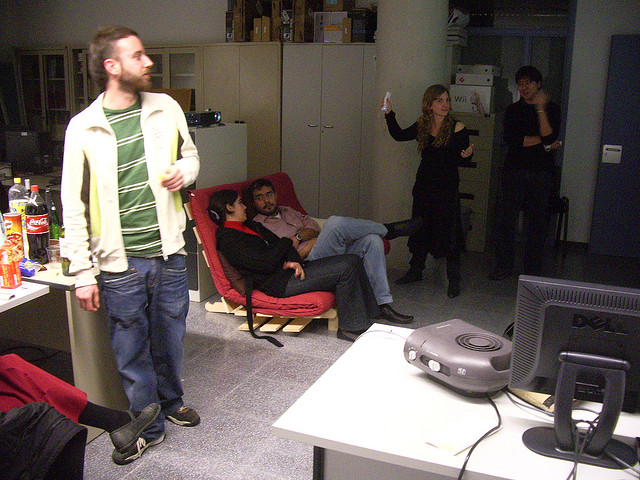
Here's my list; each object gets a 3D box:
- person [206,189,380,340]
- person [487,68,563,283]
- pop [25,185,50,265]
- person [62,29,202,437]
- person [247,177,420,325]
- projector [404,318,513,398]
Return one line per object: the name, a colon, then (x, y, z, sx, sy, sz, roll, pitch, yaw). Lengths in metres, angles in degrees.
person: (-0.205, 0.166, 3.826, 1.300, 0.968, 0.518, 4, 11, 11)
person: (2.026, -0.635, 5.078, 0.619, 2.006, 1.290, 7, 20, 24)
pop: (-1.484, -0.079, 2.747, 0.137, 0.406, 0.127, 4, 12, 16)
person: (-0.856, 0.046, 2.475, 0.656, 1.979, 0.300, -12, 21, -30)
person: (0.045, 0.062, 4.229, 1.749, 1.060, 0.792, 7, 12, 21)
projector: (0.516, 0.417, 1.873, 0.357, 0.143, 0.249, 13, 23, 38)
